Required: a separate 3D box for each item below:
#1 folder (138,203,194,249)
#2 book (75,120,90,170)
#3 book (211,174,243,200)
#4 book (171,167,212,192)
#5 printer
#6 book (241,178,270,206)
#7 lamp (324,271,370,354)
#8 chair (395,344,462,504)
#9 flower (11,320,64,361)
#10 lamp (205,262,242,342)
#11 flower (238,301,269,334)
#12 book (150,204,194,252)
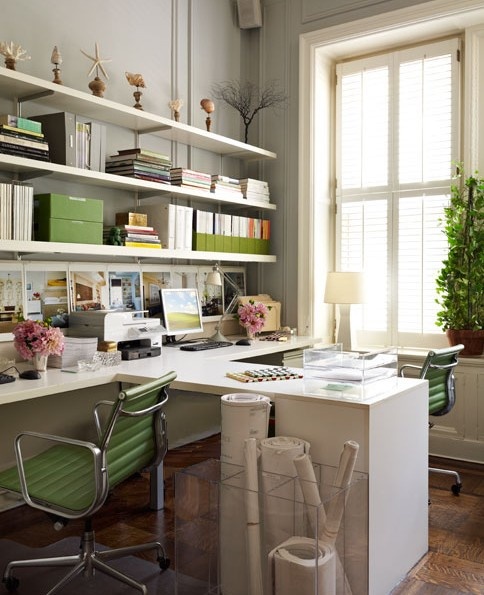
[{"bbox_3d":[-0.539,-0.467,3.442,0.406,0.389,0.300,5,6,42],"label":"folder"},{"bbox_3d":[-0.852,-0.815,2.616,0.035,0.260,0.133,0,-3,20],"label":"book"},{"bbox_3d":[-0.112,-0.821,3.636,0.183,0.120,0.258,3,3,43],"label":"book"},{"bbox_3d":[-0.339,-0.804,3.363,0.174,0.075,0.230,2,2,38],"label":"book"},{"bbox_3d":[-0.751,0.133,2.786,0.299,0.232,0.424,1,2,29],"label":"printer"},{"bbox_3d":[0.118,-0.865,3.993,0.205,0.153,0.346,0,1,32],"label":"book"},{"bbox_3d":[0.825,0.115,3.967,0.301,0.597,0.616,0,-3,10],"label":"lamp"},{"bbox_3d":[0.966,0.656,2.767,0.494,0.756,0.479,-1,-5,24],"label":"chair"},{"bbox_3d":[-0.982,0.185,2.353,0.205,0.175,0.205,-2,2,3],"label":"flower"},{"bbox_3d":[-0.156,0.052,3.721,0.273,0.552,0.183,9,-1,-10],"label":"lamp"},{"bbox_3d":[0.095,0.140,3.845,0.255,0.242,0.259,-4,3,5],"label":"flower"},{"bbox_3d":[-0.455,-0.445,3.362,0.289,0.363,0.383,-4,7,-42],"label":"book"}]
